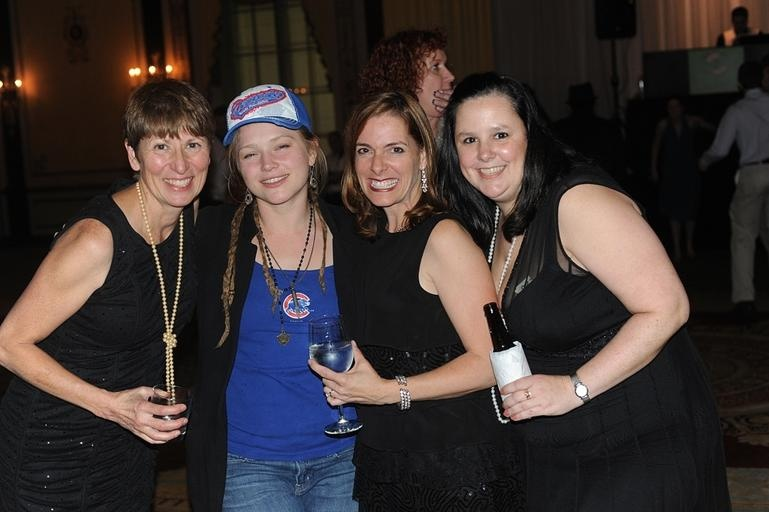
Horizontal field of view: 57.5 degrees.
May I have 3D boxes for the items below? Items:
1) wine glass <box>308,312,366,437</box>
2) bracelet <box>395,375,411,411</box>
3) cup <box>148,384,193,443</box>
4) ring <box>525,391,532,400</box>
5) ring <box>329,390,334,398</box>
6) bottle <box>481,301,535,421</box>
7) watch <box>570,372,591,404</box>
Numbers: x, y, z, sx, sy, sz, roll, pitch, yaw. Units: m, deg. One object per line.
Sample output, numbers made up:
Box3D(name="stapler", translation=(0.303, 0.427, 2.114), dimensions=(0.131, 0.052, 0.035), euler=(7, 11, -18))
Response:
Box3D(name="wine glass", translation=(-0.209, 0.524, 3.069), dimensions=(0.202, 0.558, 0.285), euler=(-5, 9, -6))
Box3D(name="bracelet", translation=(0.085, 0.579, 2.988), dimensions=(0.058, 0.138, 0.038), euler=(-5, 9, -8))
Box3D(name="cup", translation=(-0.891, 0.660, 2.971), dimensions=(0.154, 0.250, 0.200), euler=(-3, 10, 4))
Box3D(name="ring", translation=(0.560, 0.539, 2.726), dimensions=(0.020, 0.031, 0.011), euler=(-4, 10, -2))
Box3D(name="ring", translation=(-0.224, 0.581, 2.972), dimensions=(0.017, 0.025, 0.006), euler=(-2, 2, 25))
Box3D(name="bottle", translation=(0.483, 0.370, 2.744), dimensions=(0.172, 0.374, 0.107), euler=(-2, 10, 13))
Box3D(name="watch", translation=(0.768, 0.518, 2.799), dimensions=(0.074, 0.104, 0.096), euler=(-28, -18, 2))
